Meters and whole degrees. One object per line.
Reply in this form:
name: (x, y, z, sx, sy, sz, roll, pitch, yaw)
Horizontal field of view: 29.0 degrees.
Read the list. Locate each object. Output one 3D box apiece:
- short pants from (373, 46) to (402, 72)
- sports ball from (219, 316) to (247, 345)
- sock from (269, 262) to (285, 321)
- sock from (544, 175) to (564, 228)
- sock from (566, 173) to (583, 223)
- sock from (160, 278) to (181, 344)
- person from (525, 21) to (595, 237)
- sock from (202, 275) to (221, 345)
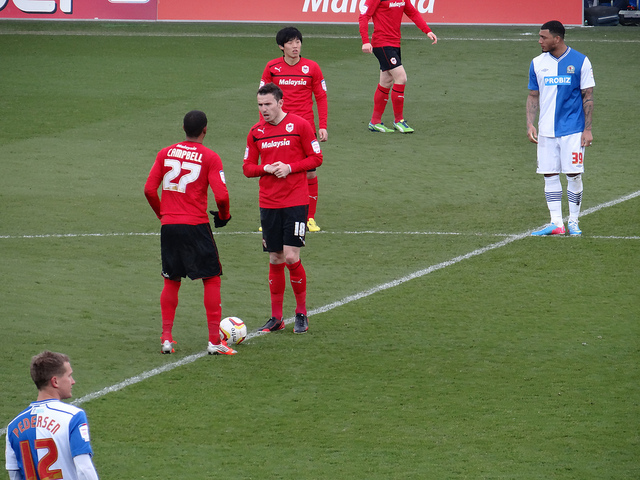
short pants: (1.094, -2.912, 19.988, 0.371, 0.381, 0.578, 2, 25, 15)
sports ball: (-0.988, 1.066, 14.222, 0.336, 0.280, 0.306, -1, -4, 0)
sock: (-0.495, 0.612, 14.588, 0.185, 0.686, 0.173, -4, 9, -5)
sock: (3.162, -0.522, 16.737, 0.232, 0.717, 0.268, -2, 9, 9)
sock: (3.400, -0.557, 16.581, 0.181, 0.672, 0.300, -1, 9, 10)
sock: (-1.694, 0.800, 14.048, 0.238, 0.723, 0.240, -4, 9, -6)
person: (3.202, -1.462, 16.561, 0.850, 2.862, 0.842, -2, 9, 9)
sock: (-1.213, 0.802, 14.004, 0.177, 0.777, 0.229, -4, 9, -5)
